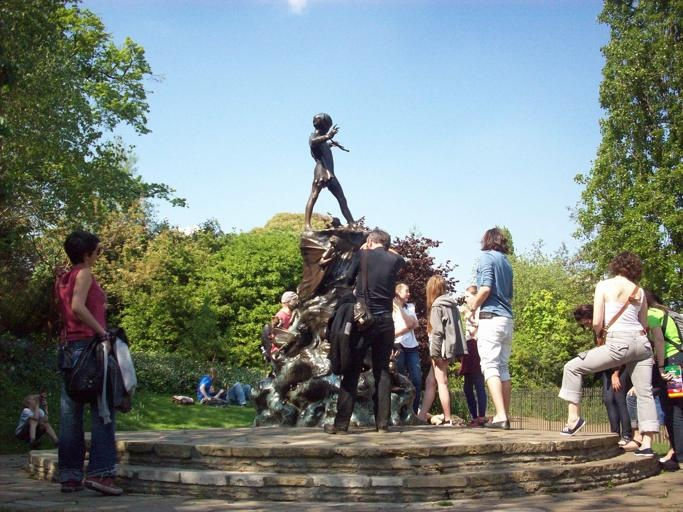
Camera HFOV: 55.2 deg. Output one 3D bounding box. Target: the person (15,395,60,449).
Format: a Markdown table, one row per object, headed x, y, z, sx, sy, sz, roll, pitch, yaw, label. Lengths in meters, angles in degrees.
| x | y | z | sx | sy | sz | roll | pitch | yaw | label |
| --- | --- | --- | --- | --- | --- | --- | --- | --- | --- |
| -5.543 | 3.011 | 11.894 | 0.775 | 1.049 | 0.638 | -11 | -27 | -8 | person |

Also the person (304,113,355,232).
| x | y | z | sx | sy | sz | roll | pitch | yaw | label |
| --- | --- | --- | --- | --- | --- | --- | --- | --- | --- |
| -0.272 | -1.872 | 14.159 | 0.964 | 2.453 | 1.556 | 2 | -15 | -4 | person |

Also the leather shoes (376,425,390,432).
| x | y | z | sx | sy | sz | roll | pitch | yaw | label |
| --- | --- | --- | --- | --- | --- | --- | --- | --- | --- |
| 0.618 | 2.631 | 9.939 | 0.139 | 0.067 | 0.196 | 1 | -9 | -7 | leather shoes |

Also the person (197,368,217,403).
| x | y | z | sx | sy | sz | roll | pitch | yaw | label |
| --- | --- | --- | --- | --- | --- | --- | --- | --- | --- |
| -4.450 | 4.309 | 21.419 | 0.542 | 1.228 | 3.044 | 4 | -16 | -12 | person |

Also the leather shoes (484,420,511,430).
| x | y | z | sx | sy | sz | roll | pitch | yaw | label |
| --- | --- | --- | --- | --- | --- | --- | --- | --- | --- |
| 2.536 | 2.727 | 10.604 | 0.169 | 0.149 | 0.434 | 8 | -10 | -33 | leather shoes |

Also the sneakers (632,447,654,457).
| x | y | z | sx | sy | sz | roll | pitch | yaw | label |
| --- | --- | --- | --- | --- | --- | --- | --- | --- | --- |
| 4.501 | 2.927 | 9.769 | 0.133 | 0.131 | 0.293 | 5 | -5 | -18 | sneakers |

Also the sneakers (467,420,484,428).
| x | y | z | sx | sy | sz | roll | pitch | yaw | label |
| --- | --- | --- | --- | --- | --- | --- | --- | --- | --- |
| 2.424 | 3.015 | 11.782 | 0.170 | 0.135 | 0.319 | -1 | -20 | -7 | sneakers |

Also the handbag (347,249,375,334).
| x | y | z | sx | sy | sz | roll | pitch | yaw | label |
| --- | --- | --- | --- | --- | --- | --- | --- | --- | --- |
| 0.318 | 0.473 | 9.803 | 0.302 | 1.251 | 0.268 | -1 | -15 | 7 | handbag |

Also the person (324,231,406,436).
| x | y | z | sx | sy | sz | roll | pitch | yaw | label |
| --- | --- | --- | --- | --- | --- | --- | --- | --- | --- |
| 0.399 | 1.125 | 10.111 | 1.110 | 3.138 | 0.919 | 10 | -13 | -30 | person |

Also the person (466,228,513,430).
| x | y | z | sx | sy | sz | roll | pitch | yaw | label |
| --- | --- | --- | --- | --- | --- | --- | --- | --- | --- |
| 2.456 | 1.143 | 10.521 | 0.596 | 3.149 | 0.982 | -5 | -16 | 21 | person |

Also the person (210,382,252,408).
| x | y | z | sx | sy | sz | roll | pitch | yaw | label |
| --- | --- | --- | --- | --- | --- | --- | --- | --- | --- |
| -3.532 | 4.469 | 21.211 | 1.073 | 0.858 | 2.164 | 2 | -16 | -4 | person |

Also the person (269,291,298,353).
| x | y | z | sx | sy | sz | roll | pitch | yaw | label |
| --- | --- | --- | --- | --- | --- | --- | --- | --- | --- |
| -1.277 | 1.429 | 14.297 | 0.554 | 1.589 | 1.828 | 3 | -16 | -6 | person |

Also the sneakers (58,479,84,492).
| x | y | z | sx | sy | sz | roll | pitch | yaw | label |
| --- | --- | --- | --- | --- | --- | --- | --- | --- | --- |
| -3.422 | 2.902 | 8.256 | 0.118 | 0.147 | 0.316 | -1 | -4 | 16 | sneakers |
